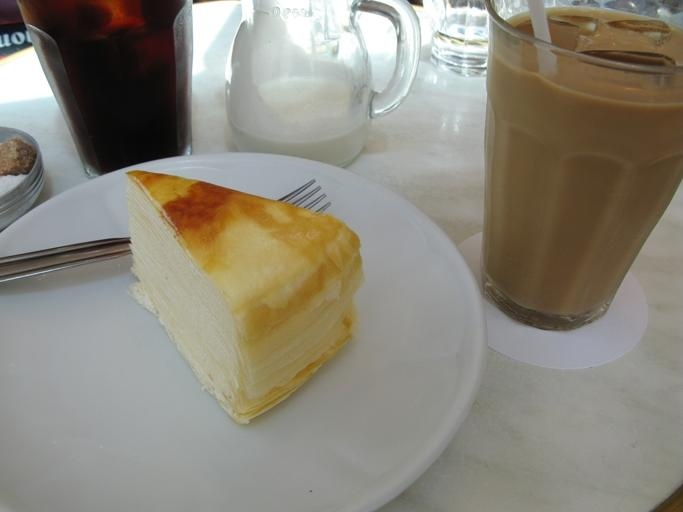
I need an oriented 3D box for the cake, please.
[{"bbox_3d":[-0.153,0.056,0.754,0.315,0.184,0.240,32,44,24],"label":"cake"}]
